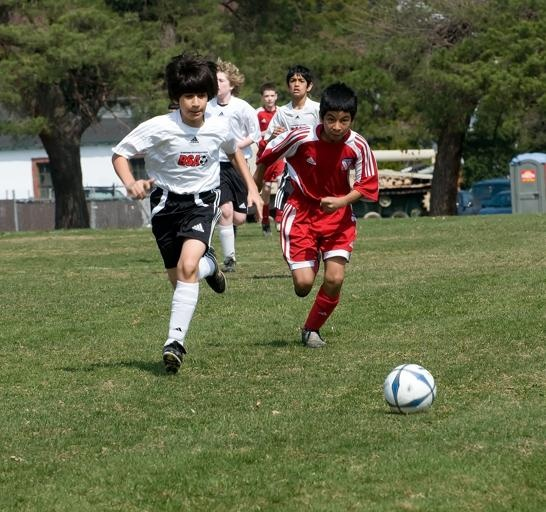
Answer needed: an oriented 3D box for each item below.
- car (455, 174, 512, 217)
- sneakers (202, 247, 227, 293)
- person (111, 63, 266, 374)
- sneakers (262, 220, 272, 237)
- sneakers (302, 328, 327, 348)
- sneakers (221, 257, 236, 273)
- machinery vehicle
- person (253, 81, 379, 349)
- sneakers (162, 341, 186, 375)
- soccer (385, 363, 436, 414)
[{"bbox_3d":[5.728,-1.602,24.871,0.854,0.759,1.514,-1,-2,0],"label":"car"},{"bbox_3d":[-0.452,0.137,7.162,0.114,0.388,0.164,-24,44,-3],"label":"sneakers"},{"bbox_3d":[-0.655,-0.321,6.723,0.627,2.226,1.203,6,11,43],"label":"person"},{"bbox_3d":[-0.129,-0.468,17.315,0.128,0.246,0.223,-1,0,-4],"label":"sneakers"},{"bbox_3d":[0.305,0.668,7.381,0.093,0.085,0.191,-1,2,-21],"label":"sneakers"},{"bbox_3d":[-0.538,0.122,11.105,0.149,0.208,0.447,0,-1,-3],"label":"sneakers"},{"bbox_3d":[4.089,-2.283,29.338,2.739,2.040,1.951,-3,15,41],"label":"machinery vehicle"},{"bbox_3d":[0.376,-0.303,7.269,0.864,2.047,0.865,-3,8,-10],"label":"person"},{"bbox_3d":[-0.694,0.712,6.432,0.130,0.241,0.196,-1,8,2],"label":"sneakers"},{"bbox_3d":[0.843,0.819,5.677,0.243,0.291,0.273,-6,12,-1],"label":"soccer"}]
